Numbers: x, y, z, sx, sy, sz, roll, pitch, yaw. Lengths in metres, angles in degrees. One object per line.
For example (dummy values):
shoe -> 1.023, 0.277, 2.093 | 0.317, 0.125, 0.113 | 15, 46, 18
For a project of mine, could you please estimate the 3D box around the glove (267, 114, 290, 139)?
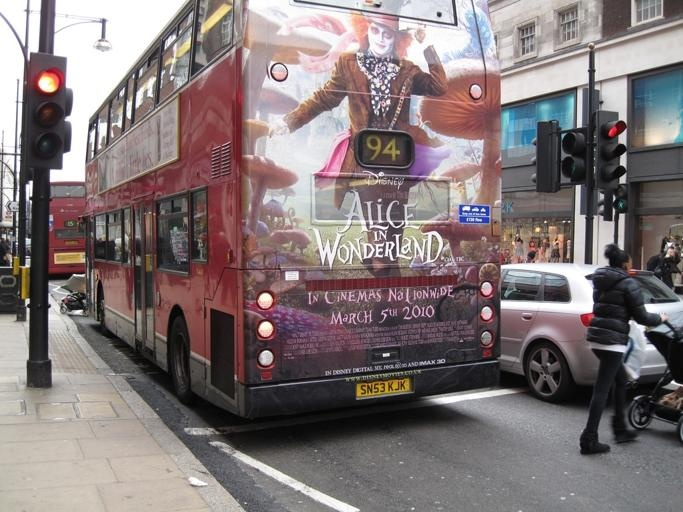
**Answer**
glove -> -0.658, -1.361, 5.867 | 0.231, 0.217, 0.017 | 1, 3, -18

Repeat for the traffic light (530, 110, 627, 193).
traffic light -> 4.492, -1.996, 10.444 | 1.581, 1.535, 0.762 | 3, 3, 22

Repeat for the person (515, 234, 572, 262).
person -> 9.007, -0.352, 24.821 | 0.563, 1.324, 3.011 | 0, 3, -33

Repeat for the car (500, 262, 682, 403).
car -> 3.071, 0.984, 8.516 | 1.460, 1.399, 2.905 | -2, 4, -26

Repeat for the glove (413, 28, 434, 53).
glove -> 0.946, -2.531, 6.450 | 0.185, 0.283, 0.092 | -33, 11, -30

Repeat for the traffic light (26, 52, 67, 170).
traffic light -> -3.963, -1.944, 7.423 | 0.466, 1.511, 0.345 | 0, 3, -34

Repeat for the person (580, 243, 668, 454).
person -> 3.015, 0.995, 6.000 | 0.878, 2.239, 0.699 | -1, 4, -44
